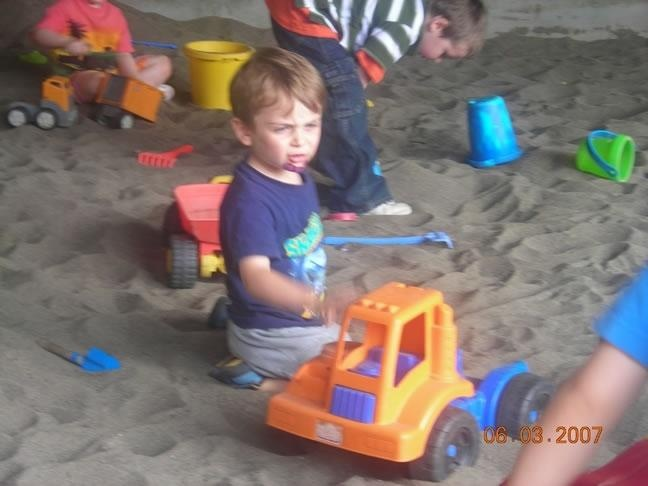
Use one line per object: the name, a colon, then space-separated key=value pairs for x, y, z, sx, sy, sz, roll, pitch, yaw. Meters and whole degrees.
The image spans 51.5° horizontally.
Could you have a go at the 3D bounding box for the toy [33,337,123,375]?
toy: x=-0.821 y=0.378 z=2.260 sx=0.240 sy=0.043 sz=0.103 roll=8 pitch=5 yaw=3

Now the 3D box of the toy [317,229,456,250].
toy: x=0.304 y=-0.015 z=3.102 sx=0.509 sy=0.056 sz=0.174 roll=1 pitch=0 yaw=-2

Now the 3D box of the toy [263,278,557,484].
toy: x=0.281 y=0.377 z=1.892 sx=0.584 sy=0.346 sz=0.720 roll=13 pitch=21 yaw=38

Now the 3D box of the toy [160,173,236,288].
toy: x=-0.533 y=-0.048 z=2.798 sx=0.418 sy=0.315 sz=0.492 roll=-1 pitch=7 yaw=-4

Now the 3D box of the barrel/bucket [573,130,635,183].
barrel/bucket: x=1.606 y=-0.491 z=3.933 sx=0.296 sy=0.298 sz=0.341 roll=4 pitch=-3 yaw=35
